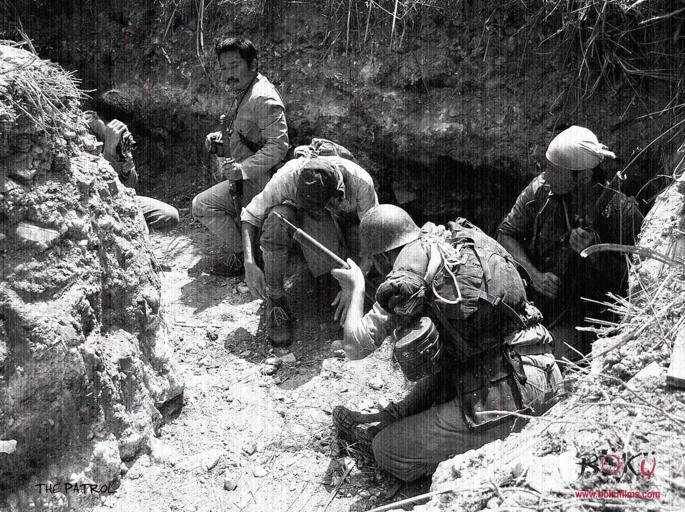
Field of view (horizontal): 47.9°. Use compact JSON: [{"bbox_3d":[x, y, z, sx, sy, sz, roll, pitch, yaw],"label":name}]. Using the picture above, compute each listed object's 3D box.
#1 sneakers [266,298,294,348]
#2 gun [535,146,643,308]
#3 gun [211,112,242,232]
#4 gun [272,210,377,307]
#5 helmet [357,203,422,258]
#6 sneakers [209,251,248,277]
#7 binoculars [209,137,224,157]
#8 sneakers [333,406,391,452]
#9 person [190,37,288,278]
[{"bbox_3d":[-0.531,0.572,6.489,0.142,0.188,0.517,-6,59,-4],"label":"sneakers"},{"bbox_3d":[1.918,-0.296,6.219,0.793,1.323,0.461,10,24,29],"label":"gun"},{"bbox_3d":[-1.077,-0.770,7.210,0.160,1.233,0.347,-9,12,-19],"label":"gun"},{"bbox_3d":[-0.144,-0.006,6.241,1.120,0.141,0.156,42,22,-31],"label":"gun"},{"bbox_3d":[0.307,-0.170,5.302,0.491,0.371,0.430,-8,2,30],"label":"helmet"},{"bbox_3d":[-1.129,0.098,7.485,0.305,0.183,0.216,9,15,16],"label":"sneakers"},{"bbox_3d":[-1.176,-1.032,7.207,0.125,0.224,0.109,0,17,-5],"label":"binoculars"},{"bbox_3d":[0.126,1.215,5.469,0.320,0.175,0.276,3,6,44],"label":"sneakers"},{"bbox_3d":[-0.889,-0.867,7.285,0.816,2.415,0.755,18,28,33],"label":"person"}]
